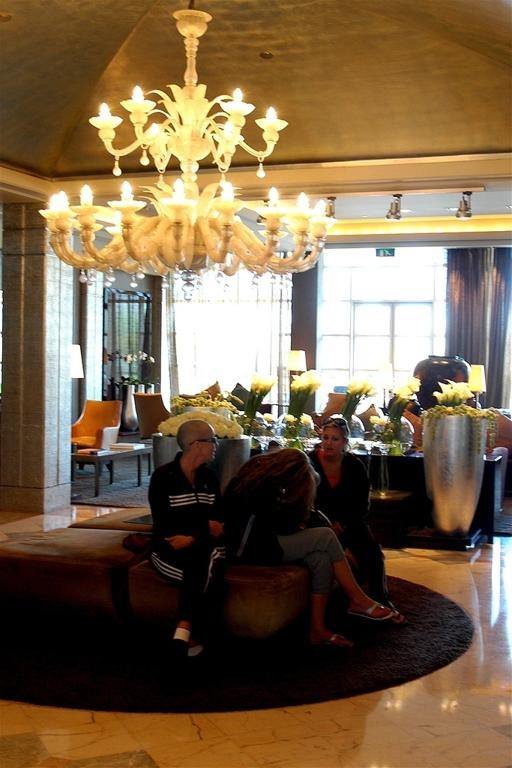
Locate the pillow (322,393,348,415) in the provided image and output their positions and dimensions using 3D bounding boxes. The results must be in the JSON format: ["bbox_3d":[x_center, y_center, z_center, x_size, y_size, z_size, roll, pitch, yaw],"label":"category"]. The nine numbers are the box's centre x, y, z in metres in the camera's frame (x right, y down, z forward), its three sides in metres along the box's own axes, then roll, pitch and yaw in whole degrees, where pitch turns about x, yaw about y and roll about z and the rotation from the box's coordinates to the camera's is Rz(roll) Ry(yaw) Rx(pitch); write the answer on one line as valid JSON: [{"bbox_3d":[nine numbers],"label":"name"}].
[{"bbox_3d":[1.085,0.278,8.965,0.361,0.362,0.315,2,3,19],"label":"pillow"}]

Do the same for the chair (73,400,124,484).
[{"bbox_3d":[-2.226,0.681,8.668,0.737,0.814,0.711,0,7,0],"label":"chair"}]

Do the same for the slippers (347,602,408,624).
[{"bbox_3d":[0.631,1.167,3.292,0.265,0.065,0.129,-1,-4,8],"label":"slippers"}]

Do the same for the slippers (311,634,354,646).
[{"bbox_3d":[0.345,1.165,2.934,0.170,0.035,0.064,-2,1,9],"label":"slippers"}]

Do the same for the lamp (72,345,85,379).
[{"bbox_3d":[-2.721,-0.393,9.879,0.166,0.629,1.672,3,-5,-15],"label":"lamp"}]

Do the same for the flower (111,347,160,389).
[{"bbox_3d":[-2.382,-0.342,12.537,0.712,1.101,0.903,0,0,7],"label":"flower"}]

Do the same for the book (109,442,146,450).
[{"bbox_3d":[-1.520,0.786,8.059,0.308,0.085,0.535,-2,-5,37],"label":"book"}]

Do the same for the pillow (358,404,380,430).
[{"bbox_3d":[1.392,0.412,7.983,0.078,0.300,0.329,-14,9,40],"label":"pillow"}]

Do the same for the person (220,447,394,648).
[{"bbox_3d":[0.245,0.766,3.089,0.930,0.834,0.375,11,-27,-13],"label":"person"}]

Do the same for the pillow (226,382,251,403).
[{"bbox_3d":[-0.232,0.119,9.665,0.190,0.314,0.568,2,-5,-5],"label":"pillow"}]
